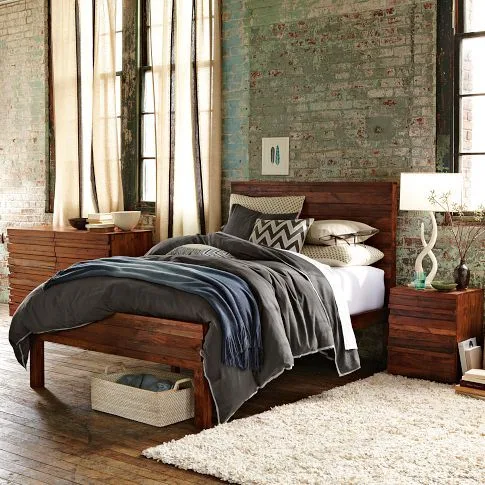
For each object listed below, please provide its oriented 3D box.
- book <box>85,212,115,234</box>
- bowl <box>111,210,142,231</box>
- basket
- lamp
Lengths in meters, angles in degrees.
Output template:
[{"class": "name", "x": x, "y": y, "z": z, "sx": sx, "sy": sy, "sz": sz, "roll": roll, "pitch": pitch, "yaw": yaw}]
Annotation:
[{"class": "book", "x": -1.424, "y": -0.186, "z": 4.664, "sx": 0.210, "sy": 0.153, "sz": 0.271, "roll": 0, "pitch": 2, "yaw": 29}, {"class": "bowl", "x": -1.150, "y": -0.213, "z": 4.676, "sx": 0.236, "sy": 0.133, "sz": 0.216, "roll": 0, "pitch": -2, "yaw": 0}, {"class": "basket", "x": -0.535, "y": 0.812, "z": 2.481, "sx": 0.502, "sy": 0.157, "sz": 0.282, "roll": 2, "pitch": 0, "yaw": 37}, {"class": "lamp", "x": 1.328, "y": -0.089, "z": 3.282, "sx": 0.397, "sy": 0.799, "sz": 0.418, "roll": -3, "pitch": -4, "yaw": 20}]
